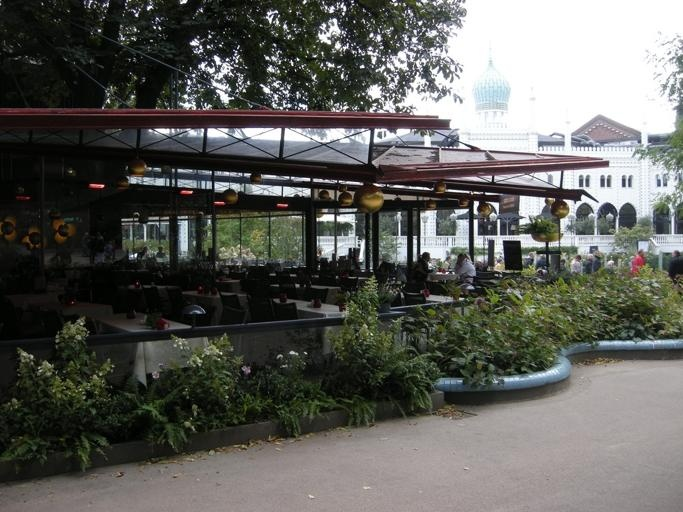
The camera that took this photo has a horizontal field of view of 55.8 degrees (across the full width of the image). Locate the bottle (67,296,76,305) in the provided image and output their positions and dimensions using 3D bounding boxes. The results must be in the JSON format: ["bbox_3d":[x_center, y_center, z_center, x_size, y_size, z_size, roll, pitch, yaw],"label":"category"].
[{"bbox_3d":[-4.652,0.767,11.151,0.124,0.050,0.115,7,12,-1],"label":"bottle"}]

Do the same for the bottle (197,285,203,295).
[{"bbox_3d":[-3.041,0.737,13.913,0.134,0.160,0.176,-3,-15,15],"label":"bottle"}]

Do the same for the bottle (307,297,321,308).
[{"bbox_3d":[-0.444,0.823,11.384,0.183,0.148,0.175,-1,2,32],"label":"bottle"}]
